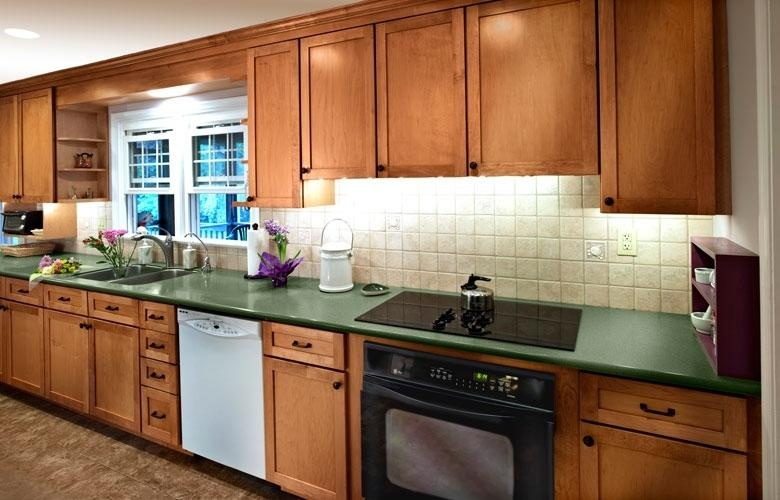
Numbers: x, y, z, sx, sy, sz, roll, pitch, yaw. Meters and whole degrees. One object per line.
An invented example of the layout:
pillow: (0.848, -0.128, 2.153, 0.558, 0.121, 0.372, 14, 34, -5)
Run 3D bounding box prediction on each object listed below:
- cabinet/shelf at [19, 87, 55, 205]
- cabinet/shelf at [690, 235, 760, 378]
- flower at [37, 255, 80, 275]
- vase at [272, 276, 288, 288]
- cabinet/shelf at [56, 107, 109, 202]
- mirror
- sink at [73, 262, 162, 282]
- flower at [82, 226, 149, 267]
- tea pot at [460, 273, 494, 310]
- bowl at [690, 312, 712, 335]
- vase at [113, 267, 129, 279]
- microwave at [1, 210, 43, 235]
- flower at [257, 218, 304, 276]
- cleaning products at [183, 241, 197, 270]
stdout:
cabinet/shelf: (-3.149, -0.914, 5.023, 0.473, 0.965, 0.135, 3, 7, 33)
cabinet/shelf: (1.716, 0.304, 2.863, 0.169, 0.458, 0.759, 0, 4, 19)
flower: (-2.680, 0.118, 4.556, 0.328, 0.141, 0.298, -5, 8, -32)
vase: (-0.794, 0.237, 4.085, 0.101, 0.079, 0.074, 5, -5, -33)
cabinet/shelf: (-2.772, -0.889, 5.071, 0.483, 0.740, 0.283, -2, 14, -35)
mirror: (-1.763, -0.629, 4.864, 1.672, 0.972, 0.157, 2, 7, 28)
sink: (-2.252, 0.193, 4.633, 0.255, 0.108, 0.317, 6, 8, 36)
flower: (-2.348, -0.025, 4.808, 0.537, 0.300, 0.425, 0, 3, -29)
tea pot: (0.550, 0.263, 3.552, 0.215, 0.199, 0.210, -3, 15, 1)
bowl: (1.724, 0.408, 3.138, 0.121, 0.067, 0.116, -2, 9, 0)
vase: (-2.225, 0.186, 4.648, 0.112, 0.076, 0.103, -2, 24, -15)
microwave: (-3.519, -0.254, 5.341, 0.394, 0.218, 0.261, -2, -3, 28)
flower: (-0.801, 0.018, 4.191, 0.350, 0.406, 0.393, 3, -3, -22)
cleaning products: (-1.677, 0.047, 4.704, 0.128, 0.212, 0.287, -4, 7, -19)
